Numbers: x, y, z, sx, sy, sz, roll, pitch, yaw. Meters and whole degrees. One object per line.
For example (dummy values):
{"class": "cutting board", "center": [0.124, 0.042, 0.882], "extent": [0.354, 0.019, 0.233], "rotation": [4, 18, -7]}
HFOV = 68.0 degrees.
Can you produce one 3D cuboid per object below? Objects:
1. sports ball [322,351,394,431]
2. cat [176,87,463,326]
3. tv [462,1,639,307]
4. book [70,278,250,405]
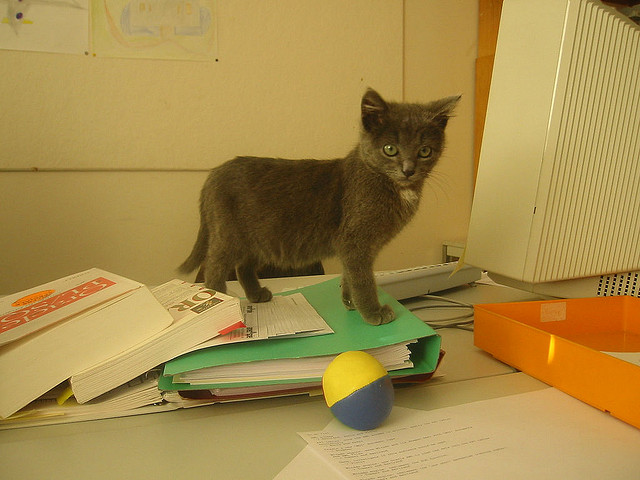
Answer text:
{"class": "sports ball", "center": [0.064, 0.238, 0.763], "extent": [0.114, 0.108, 0.087], "rotation": [-8, 17, -13]}
{"class": "cat", "center": [-0.097, -0.120, 1.286], "extent": [0.861, 0.636, 0.335], "rotation": [-2, 9, 9]}
{"class": "tv", "center": [0.487, -0.179, 0.968], "extent": [0.290, 0.604, 0.243], "rotation": [-10, 17, -18]}
{"class": "book", "center": [-0.260, 0.164, 0.868], "extent": [0.259, 0.120, 0.269], "rotation": [-3, 17, 6]}
